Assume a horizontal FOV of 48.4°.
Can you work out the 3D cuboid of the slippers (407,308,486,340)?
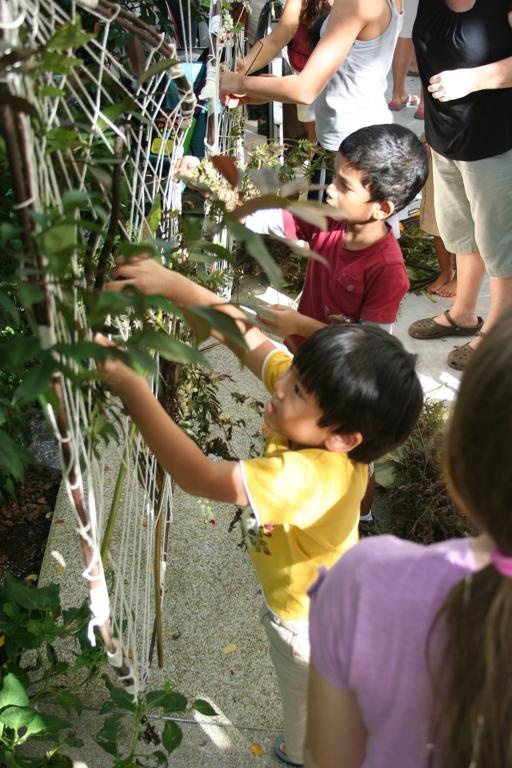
[{"bbox_3d":[0.951,-0.319,2.943,0.401,0.149,0.145,0,24,1],"label":"slippers"}]

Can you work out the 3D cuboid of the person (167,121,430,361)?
[{"bbox_3d":[0.176,-0.400,1.873,0.591,0.867,0.659,-35,58,-29],"label":"person"}]
